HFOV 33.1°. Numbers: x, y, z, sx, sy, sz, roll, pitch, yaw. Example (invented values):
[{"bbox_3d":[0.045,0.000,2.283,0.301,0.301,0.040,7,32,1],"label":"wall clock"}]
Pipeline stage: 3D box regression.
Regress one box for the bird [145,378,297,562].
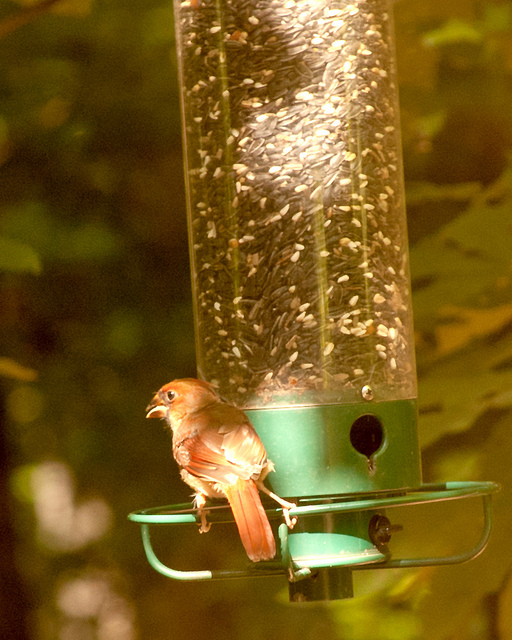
[{"bbox_3d":[-0.050,0.295,1.833,0.229,0.469,0.296,-12,102,-19],"label":"bird"}]
